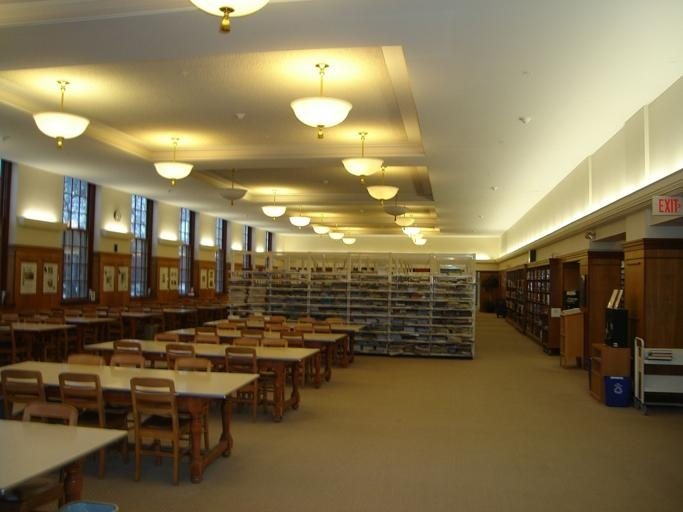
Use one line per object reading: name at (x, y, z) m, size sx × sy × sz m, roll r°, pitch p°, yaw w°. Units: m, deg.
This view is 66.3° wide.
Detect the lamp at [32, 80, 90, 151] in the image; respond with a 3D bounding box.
lamp at (-4.128, -2.105, 7.737) m, size 0.732 × 0.994 × 0.751 m, roll -1°, pitch -2°, yaw 38°

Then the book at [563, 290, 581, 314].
book at (5.439, 1.035, 12.327) m, size 0.295 × 0.514 × 0.526 m, roll 1°, pitch 0°, yaw 17°

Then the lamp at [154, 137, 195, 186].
lamp at (-3.092, -1.725, 9.663) m, size 0.823 × 0.844 × 0.839 m, roll 7°, pitch 24°, yaw -8°
